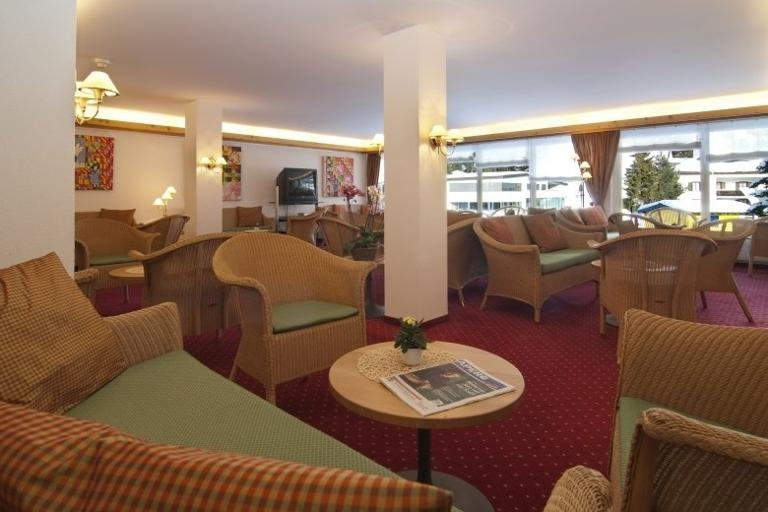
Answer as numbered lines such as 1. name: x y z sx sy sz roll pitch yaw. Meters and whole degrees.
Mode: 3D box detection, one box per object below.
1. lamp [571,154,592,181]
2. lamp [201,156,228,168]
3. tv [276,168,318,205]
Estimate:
1. lamp: 3.866 -1.710 9.665 0.371 0.508 0.696 2 11 22
2. lamp: -2.828 -1.543 8.254 0.412 0.222 0.217 -7 11 -27
3. tv: -2.121 -1.669 12.019 0.326 0.900 1.142 7 13 40
